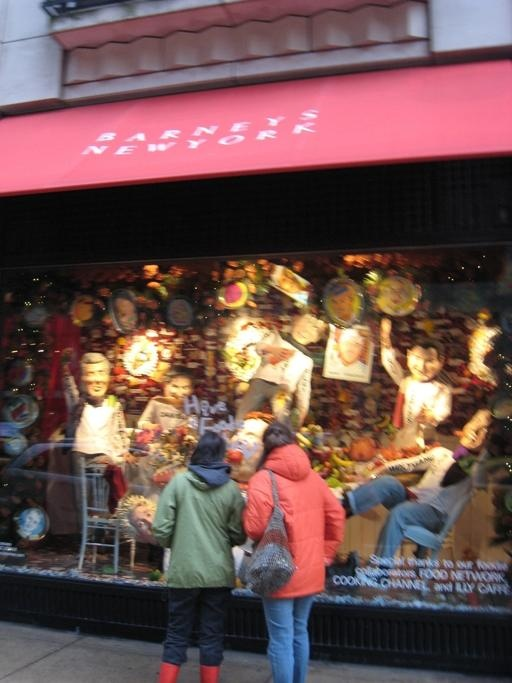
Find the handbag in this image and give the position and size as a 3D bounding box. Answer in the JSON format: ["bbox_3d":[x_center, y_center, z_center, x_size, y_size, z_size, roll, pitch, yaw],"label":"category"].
[{"bbox_3d":[0.089,1.158,3.455,0.292,0.408,0.188,-20,-26,25],"label":"handbag"}]
